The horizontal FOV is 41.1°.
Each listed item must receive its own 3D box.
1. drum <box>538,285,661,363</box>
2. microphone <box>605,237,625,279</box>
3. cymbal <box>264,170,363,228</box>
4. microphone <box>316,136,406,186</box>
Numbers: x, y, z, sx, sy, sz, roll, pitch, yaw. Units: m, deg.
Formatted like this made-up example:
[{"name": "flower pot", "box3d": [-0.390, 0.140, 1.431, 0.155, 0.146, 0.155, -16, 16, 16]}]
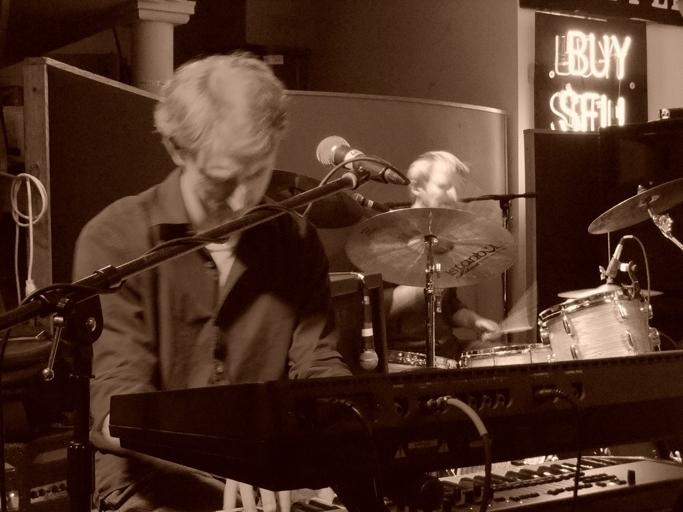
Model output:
[{"name": "drum", "box3d": [1.081, 0.336, 3.826, 0.410, 0.292, 0.420, -16, -11, -3]}, {"name": "microphone", "box3d": [1.376, 0.007, 4.578, 0.062, 0.209, 0.078, 19, -2, 31]}, {"name": "cymbal", "box3d": [-0.107, -0.223, 3.493, 0.270, 0.056, 0.253, 37, 36, 18]}, {"name": "microphone", "box3d": [0.019, -0.279, 2.508, 0.101, 0.090, 0.334, 34, -7, -38]}]
